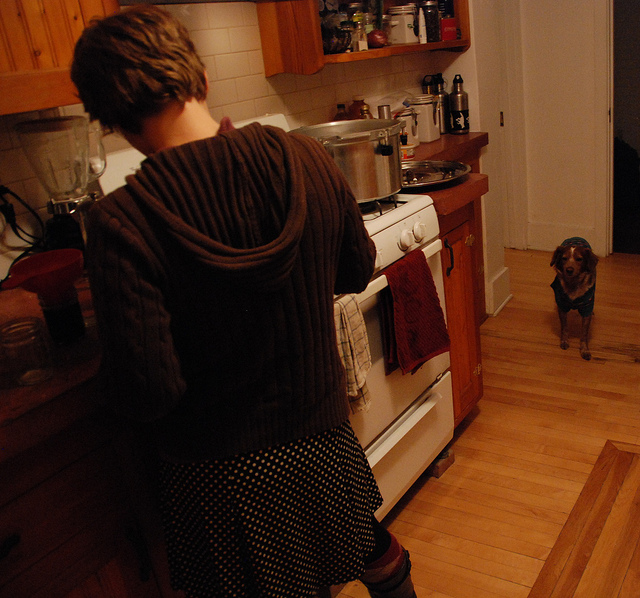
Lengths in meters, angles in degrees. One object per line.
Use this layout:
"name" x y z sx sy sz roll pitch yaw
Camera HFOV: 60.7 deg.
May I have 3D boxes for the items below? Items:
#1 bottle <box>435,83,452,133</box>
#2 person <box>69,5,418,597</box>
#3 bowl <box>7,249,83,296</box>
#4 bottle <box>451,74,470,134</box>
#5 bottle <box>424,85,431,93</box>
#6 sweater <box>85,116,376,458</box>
"bottle" 0.777 -1.149 3.342 0.030 0.247 0.100 -12 23 -8
"person" -0.105 0.228 1.086 0.564 1.478 0.333 -23 27 -32
"bowl" -0.566 -0.058 1.140 0.097 0.054 0.124 10 38 21
"bottle" 0.846 -1.172 3.292 0.115 0.326 0.092 -7 23 4
"bottle" 0.664 -1.305 3.385 0.036 0.043 0.074 -12 24 -8
"sweater" -0.111 0.013 0.951 0.535 0.594 0.232 -21 26 -25
